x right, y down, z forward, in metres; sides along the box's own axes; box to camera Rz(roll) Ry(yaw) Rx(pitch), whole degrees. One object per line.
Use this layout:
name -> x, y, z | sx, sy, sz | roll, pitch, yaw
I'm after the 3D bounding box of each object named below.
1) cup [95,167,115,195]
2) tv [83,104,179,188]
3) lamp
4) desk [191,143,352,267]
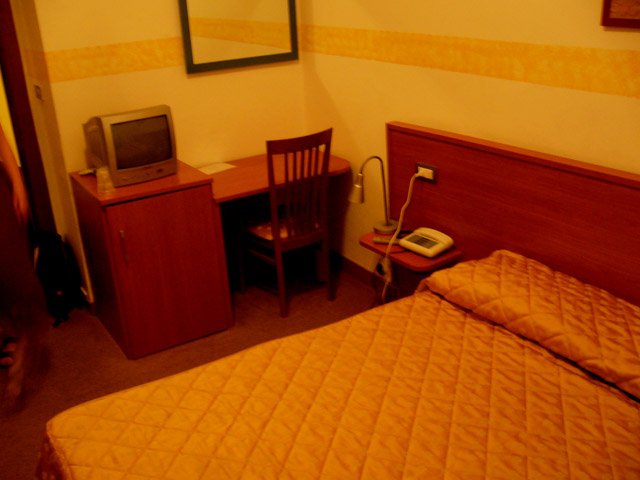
cup -> -1.279, -0.353, 2.968 | 0.089, 0.120, 0.134 | -12, 30, -18
tv -> -1.156, -0.634, 3.202 | 0.499, 0.496, 0.532 | -19, 35, -35
lamp -> 0.362, -0.339, 3.335 | 0.291, 0.559, 0.688 | 2, 29, 6
desk -> -0.323, -0.175, 3.935 | 1.106, 0.545, 0.626 | -23, 47, -27
